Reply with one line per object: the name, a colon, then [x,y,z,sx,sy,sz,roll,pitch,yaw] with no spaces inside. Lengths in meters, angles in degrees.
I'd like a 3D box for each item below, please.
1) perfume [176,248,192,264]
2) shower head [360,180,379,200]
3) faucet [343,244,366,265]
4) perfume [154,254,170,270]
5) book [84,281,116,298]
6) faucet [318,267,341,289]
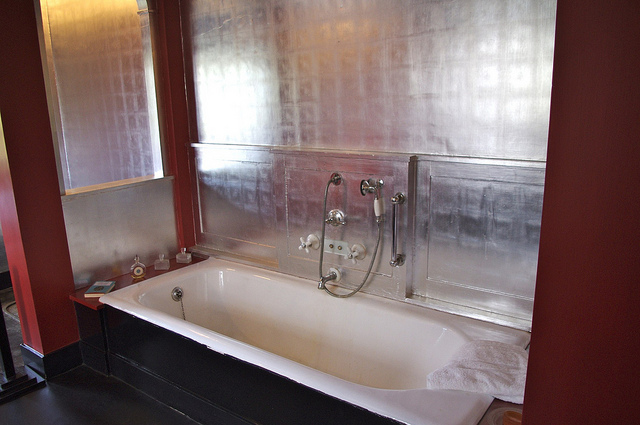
perfume: [-1.051,0.331,3.426,0.091,0.067,0.092,8,11,29]
shower head: [0.281,-0.130,2.502,0.065,0.083,0.204,-5,15,-16]
faucet: [0.207,0.249,2.673,0.095,0.119,0.045,50,16,14]
perfume: [-1.198,0.375,3.353,0.093,0.093,0.034,1,16,1]
book: [-1.461,0.509,2.962,0.167,0.048,0.202,0,14,5]
faucet: [0.054,0.421,2.738,0.089,0.088,0.154,16,27,32]
